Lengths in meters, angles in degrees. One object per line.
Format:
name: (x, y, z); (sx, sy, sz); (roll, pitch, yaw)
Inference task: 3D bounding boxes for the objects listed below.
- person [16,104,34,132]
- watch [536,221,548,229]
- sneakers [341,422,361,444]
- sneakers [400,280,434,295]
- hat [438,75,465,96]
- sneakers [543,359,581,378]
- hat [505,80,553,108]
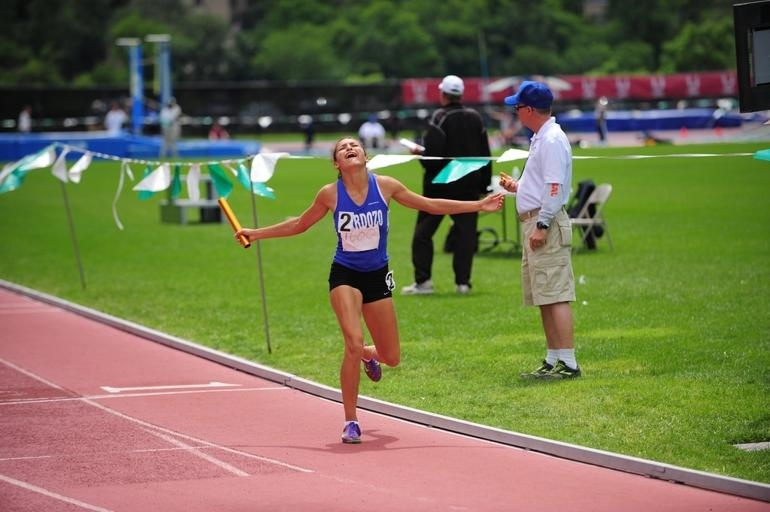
person: (-14.385, -5.537, 45.907); (0.474, 1.562, 0.540); (38, 51, 20)
watch: (1.771, -0.352, 13.138); (0.105, 0.068, 0.095); (13, -7, 22)
sneakers: (-0.357, 1.846, 12.159); (0.214, 0.233, 0.231); (5, 9, -1)
sneakers: (0.490, 0.471, 17.464); (0.538, 0.222, 0.196); (2, 3, 5)
hat: (0.947, -2.498, 16.775); (0.336, 0.220, 0.419); (1, 20, -14)
sneakers: (2.050, 1.324, 13.398); (0.506, 0.199, 0.171); (2, -11, -13)
hat: (1.624, -1.883, 13.220); (0.499, 0.239, 0.319); (15, 34, 21)
